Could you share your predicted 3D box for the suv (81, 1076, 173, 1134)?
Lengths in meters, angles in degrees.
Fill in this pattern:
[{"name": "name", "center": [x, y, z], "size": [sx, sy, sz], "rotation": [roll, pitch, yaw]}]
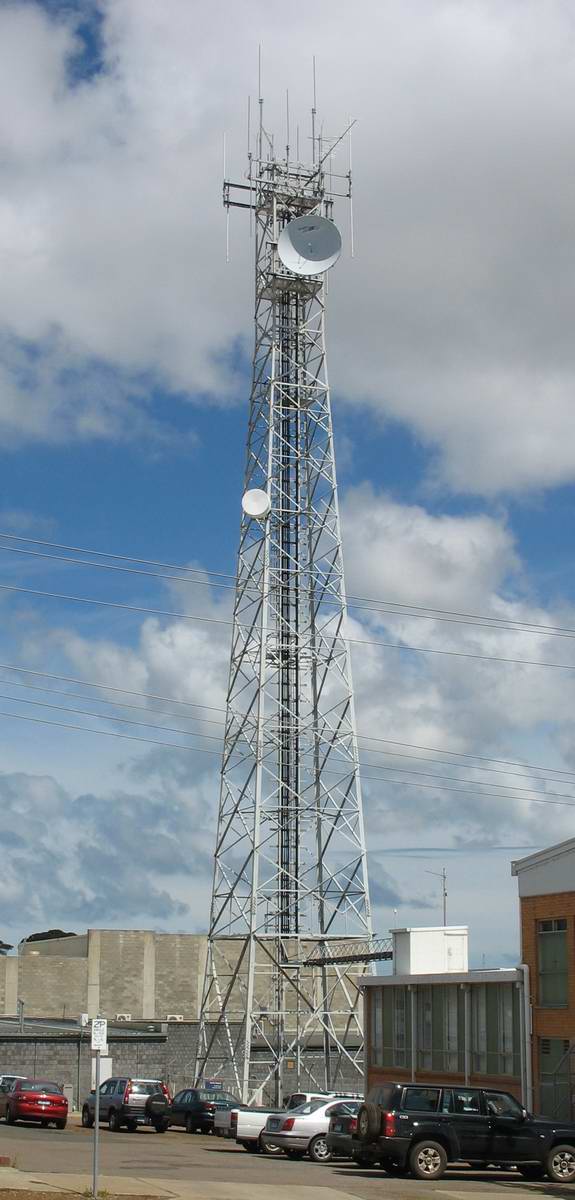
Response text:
[{"name": "suv", "center": [-4.464, 14.292, 37.828], "size": [1.197, 1.527, 2.606], "rotation": [10, -16, -39]}]
